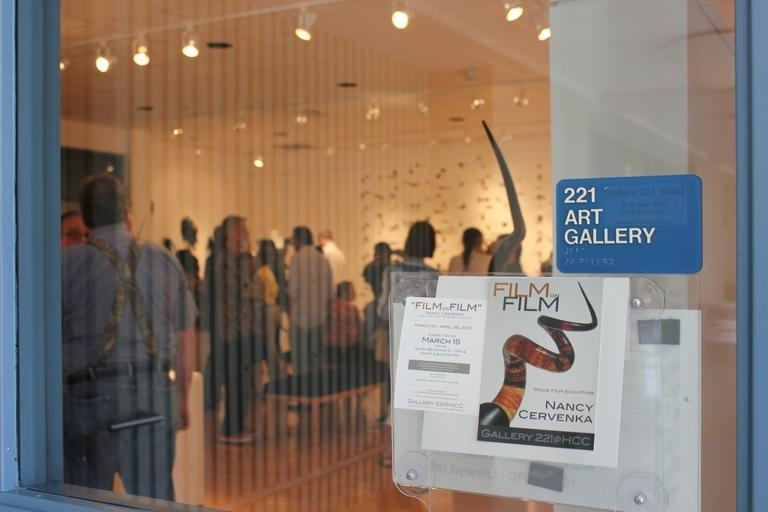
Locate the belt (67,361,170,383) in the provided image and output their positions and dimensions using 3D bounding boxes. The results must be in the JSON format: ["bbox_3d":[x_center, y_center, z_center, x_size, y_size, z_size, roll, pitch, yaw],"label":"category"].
[{"bbox_3d":[-0.794,0.352,3.240,0.162,0.044,0.045,-5,-16,8],"label":"belt"}]
